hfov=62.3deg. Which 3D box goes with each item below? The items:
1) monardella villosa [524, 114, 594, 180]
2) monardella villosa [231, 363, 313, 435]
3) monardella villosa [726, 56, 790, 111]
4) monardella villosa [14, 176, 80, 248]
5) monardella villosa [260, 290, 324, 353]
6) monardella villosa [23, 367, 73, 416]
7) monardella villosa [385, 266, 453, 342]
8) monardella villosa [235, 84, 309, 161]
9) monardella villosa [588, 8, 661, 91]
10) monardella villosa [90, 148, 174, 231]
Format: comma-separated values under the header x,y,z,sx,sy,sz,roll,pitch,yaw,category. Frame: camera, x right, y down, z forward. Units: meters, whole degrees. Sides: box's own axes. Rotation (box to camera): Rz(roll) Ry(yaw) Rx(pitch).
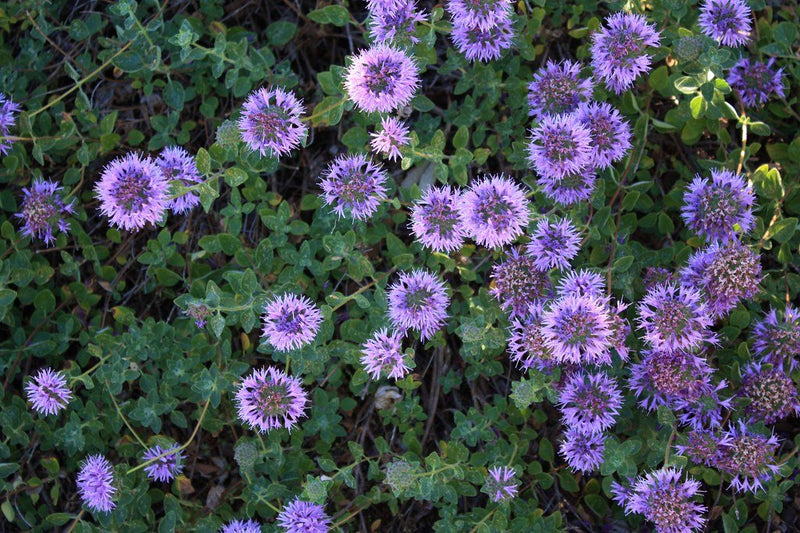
x,y,z,sx,sy,sz,roll,pitch,yaw,category
1.059,-0.779,4.349,0.404,0.235,0.437,23,101,8,monardella villosa
-0.871,0.845,4.490,0.535,0.552,0.250,1,96,21,monardella villosa
2.571,-1.338,4.783,0.370,0.202,0.389,-29,95,16,monardella villosa
-2.600,-0.392,4.883,0.438,0.403,0.500,-1,101,10,monardella villosa
-0.713,0.365,4.403,0.376,0.173,0.406,24,80,-3,monardella villosa
-2.404,0.827,4.585,0.250,0.255,0.146,11,129,-14,monardella villosa
0.121,0.262,4.607,0.425,0.382,0.444,13,84,3,monardella villosa
-0.859,-0.966,4.501,0.440,0.240,0.388,2,83,2,monardella villosa
1.514,-1.457,4.477,0.486,0.235,0.543,-1,88,26,monardella villosa
-1.779,-0.485,4.464,0.504,0.227,0.548,-20,87,-2,monardella villosa
